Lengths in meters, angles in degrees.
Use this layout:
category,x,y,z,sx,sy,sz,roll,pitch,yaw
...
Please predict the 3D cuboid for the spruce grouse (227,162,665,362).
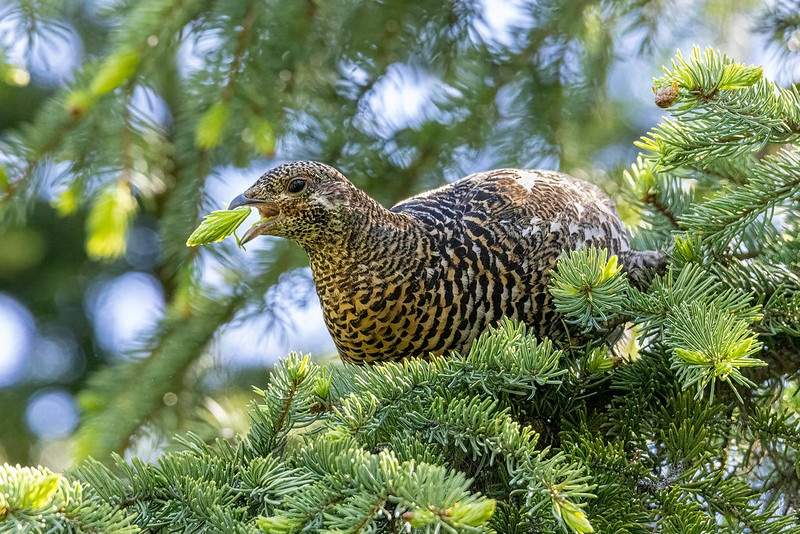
category,x,y,z,sx,sy,sz,roll,pitch,yaw
spruce grouse,0.109,-0.156,5.063,1.831,1.002,0.873,-15,10,-4
